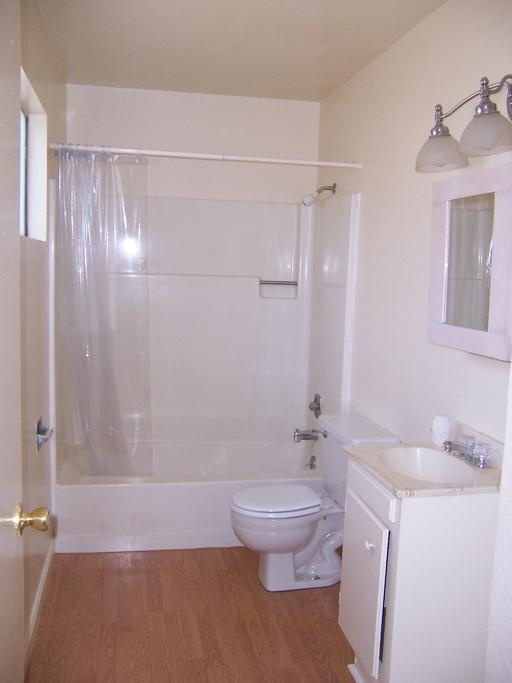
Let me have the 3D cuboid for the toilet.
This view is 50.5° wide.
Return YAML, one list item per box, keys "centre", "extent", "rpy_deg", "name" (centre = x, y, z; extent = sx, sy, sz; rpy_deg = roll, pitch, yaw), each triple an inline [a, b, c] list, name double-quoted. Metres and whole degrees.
- centre: [0.220, 0.743, 2.651]
  extent: [0.664, 0.921, 0.606]
  rpy_deg: [0, 3, -9]
  name: "toilet"

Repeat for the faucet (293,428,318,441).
- centre: [0.280, 0.563, 3.203]
  extent: [0.120, 0.084, 0.079]
  rpy_deg: [2, 3, -9]
  name: "faucet"
